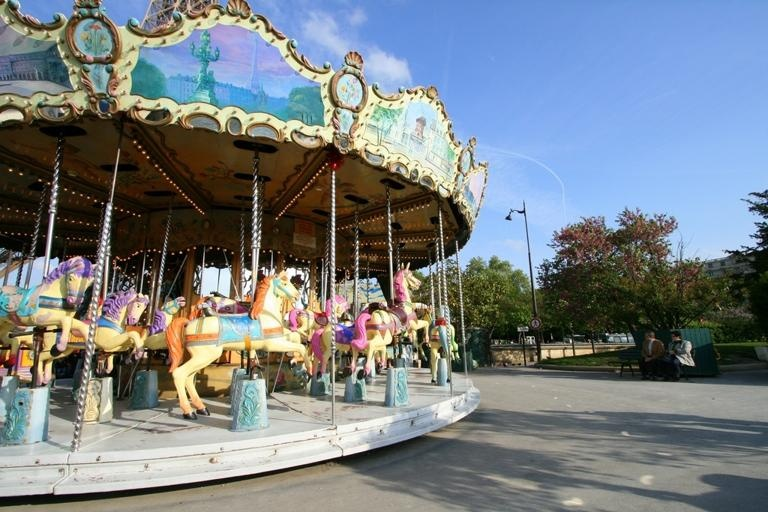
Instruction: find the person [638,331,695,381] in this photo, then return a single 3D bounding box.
[{"bbox_3d":[9.362,3.405,13.791,0.976,1.656,1.238,15,-21,-21],"label":"person"}]
